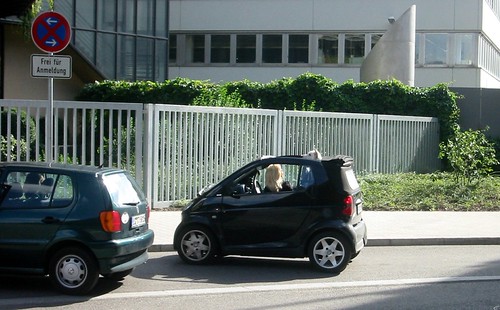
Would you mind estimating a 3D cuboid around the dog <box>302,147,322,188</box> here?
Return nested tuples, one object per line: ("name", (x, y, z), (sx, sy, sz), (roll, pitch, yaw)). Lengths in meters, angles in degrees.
("dog", (1.524, 0.367, 16.579), (0.461, 0.917, 0.531), (1, 0, 17))
